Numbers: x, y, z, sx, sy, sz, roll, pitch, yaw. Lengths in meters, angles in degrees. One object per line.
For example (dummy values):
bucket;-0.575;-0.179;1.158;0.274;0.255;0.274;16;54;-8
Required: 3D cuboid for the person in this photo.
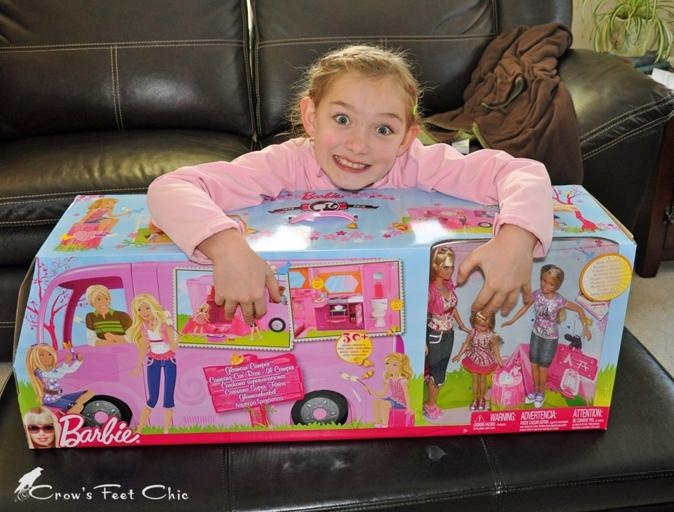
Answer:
person;-0.015;-0.223;1.199;0.758;0.362;0.590;13;14;35
